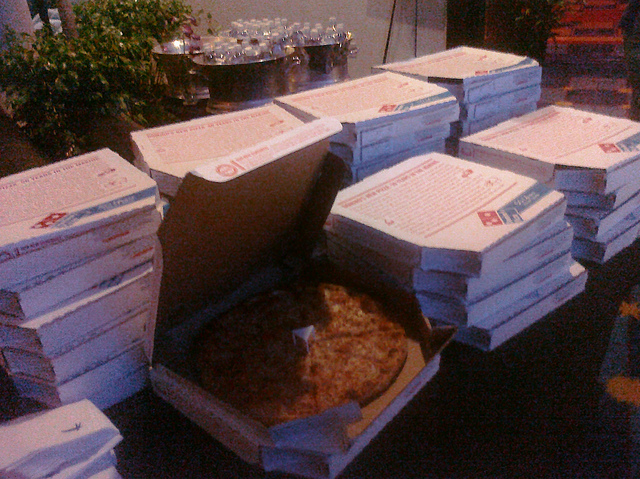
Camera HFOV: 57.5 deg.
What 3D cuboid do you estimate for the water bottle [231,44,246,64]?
[{"bbox_3d":[-0.300,-0.692,2.162,0.046,0.050,0.077,-2,32,4],"label":"water bottle"}]

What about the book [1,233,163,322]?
[{"bbox_3d":[-0.487,0.078,1.151,0.212,0.048,0.213,4,21,39],"label":"book"}]

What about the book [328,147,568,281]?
[{"bbox_3d":[0.273,-0.142,1.317,0.369,0.073,0.379,26,39,37],"label":"book"}]

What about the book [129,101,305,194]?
[{"bbox_3d":[-0.301,-0.272,1.577,0.353,0.080,0.332,-24,37,-30],"label":"book"}]

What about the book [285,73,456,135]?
[{"bbox_3d":[0.163,-0.383,1.659,0.328,0.038,0.295,-23,36,-24],"label":"book"}]

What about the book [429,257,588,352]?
[{"bbox_3d":[0.463,0.106,1.364,0.244,0.052,0.243,-27,17,-12],"label":"book"}]

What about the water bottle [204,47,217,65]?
[{"bbox_3d":[-0.408,-0.679,2.144,0.043,0.046,0.084,-16,33,-18],"label":"water bottle"}]

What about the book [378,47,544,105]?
[{"bbox_3d":[0.433,-0.558,1.909,0.364,0.072,0.332,-25,35,-33],"label":"book"}]

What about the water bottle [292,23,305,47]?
[{"bbox_3d":[-0.092,-0.851,2.427,0.050,0.071,0.124,-4,31,0],"label":"water bottle"}]
